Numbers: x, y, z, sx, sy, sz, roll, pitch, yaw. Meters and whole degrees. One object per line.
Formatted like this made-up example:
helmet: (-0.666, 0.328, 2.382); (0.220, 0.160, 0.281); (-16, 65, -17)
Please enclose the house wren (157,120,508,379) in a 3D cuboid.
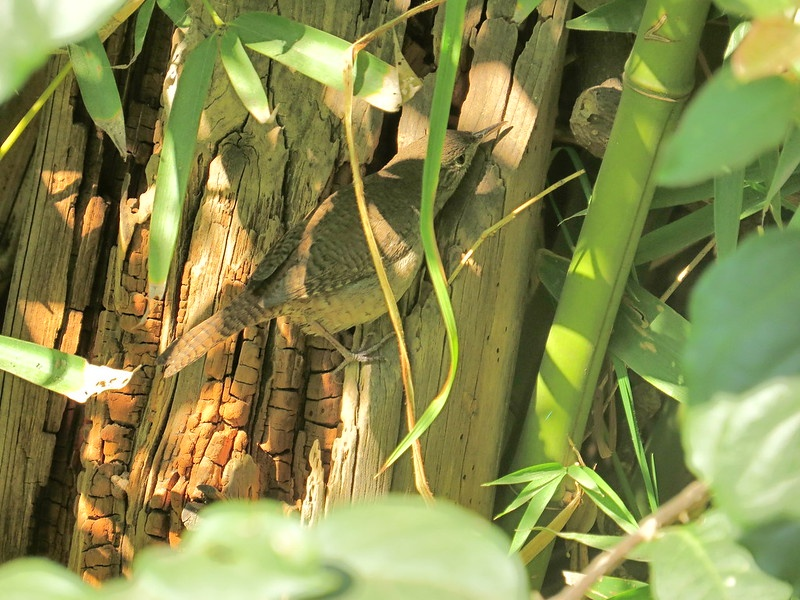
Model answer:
house wren: (-0.104, -0.067, 1.356); (0.526, 0.344, 0.202); (-9, 16, -17)
